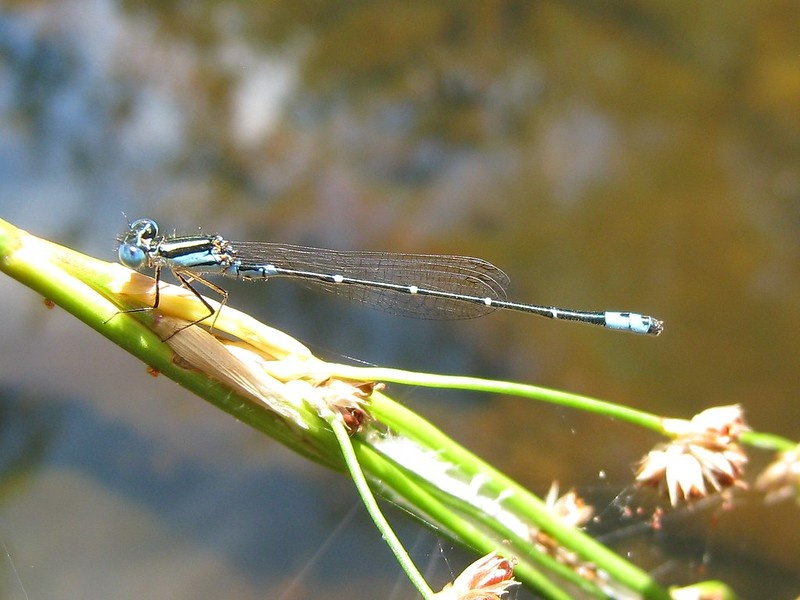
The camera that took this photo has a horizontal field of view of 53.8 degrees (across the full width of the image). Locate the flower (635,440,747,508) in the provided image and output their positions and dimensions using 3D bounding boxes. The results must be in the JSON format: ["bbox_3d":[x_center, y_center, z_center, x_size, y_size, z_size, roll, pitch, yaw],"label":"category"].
[{"bbox_3d":[1.025,0.598,2.773,0.318,0.253,0.148,22,-1,15],"label":"flower"}]
